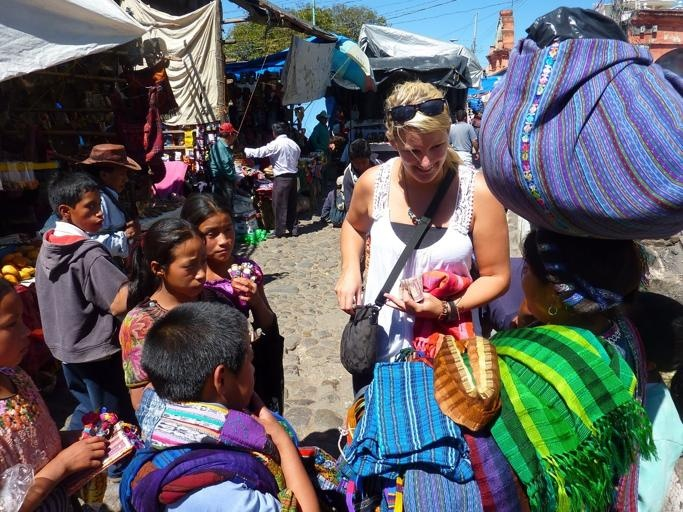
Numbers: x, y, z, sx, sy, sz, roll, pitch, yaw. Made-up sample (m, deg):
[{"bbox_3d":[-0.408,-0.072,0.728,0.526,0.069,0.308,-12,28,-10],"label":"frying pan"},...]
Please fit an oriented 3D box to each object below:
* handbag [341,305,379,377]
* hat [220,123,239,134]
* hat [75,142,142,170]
[{"bbox_3d":[0.087,0.392,2.634,0.172,0.297,0.180,1,13,2],"label":"handbag"},{"bbox_3d":[-1.887,-2.115,9.317,0.221,0.188,0.344,6,16,12],"label":"hat"},{"bbox_3d":[-1.747,-0.757,4.322,0.309,0.216,0.610,3,15,10],"label":"hat"}]
